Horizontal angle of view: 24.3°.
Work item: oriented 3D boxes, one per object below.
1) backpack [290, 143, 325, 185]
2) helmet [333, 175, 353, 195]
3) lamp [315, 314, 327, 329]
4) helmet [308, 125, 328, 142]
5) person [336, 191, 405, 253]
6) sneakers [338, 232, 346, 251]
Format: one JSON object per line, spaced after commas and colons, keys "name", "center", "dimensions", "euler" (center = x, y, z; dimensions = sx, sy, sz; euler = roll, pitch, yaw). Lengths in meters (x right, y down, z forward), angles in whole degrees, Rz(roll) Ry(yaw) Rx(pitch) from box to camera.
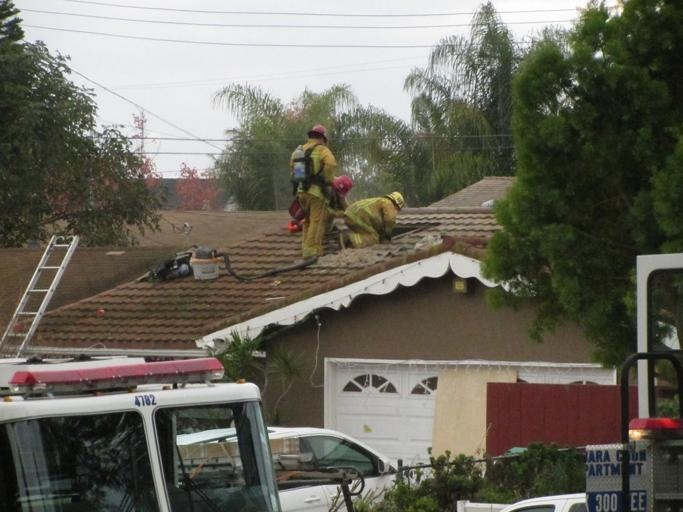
{"name": "backpack", "center": [-0.681, -1.654, 28.876], "dimensions": [0.452, 0.773, 0.635], "euler": [0, -1, 44]}
{"name": "helmet", "center": [0.031, -1.361, 29.444], "dimensions": [0.179, 0.283, 0.361], "euler": [-11, 8, 13]}
{"name": "lamp", "center": [-0.352, 1.085, 27.269], "dimensions": [0.092, 0.152, 0.258], "euler": [-12, 40, -24]}
{"name": "helmet", "center": [-0.403, -2.355, 29.008], "dimensions": [0.288, 0.228, 0.386], "euler": [12, -10, 14]}
{"name": "person", "center": [0.548, -0.761, 29.133], "dimensions": [0.958, 0.770, 0.909], "euler": [-16, 27, -7]}
{"name": "sneakers", "center": [0.009, -0.290, 29.305], "dimensions": [0.142, 0.535, 0.230], "euler": [-6, -42, 5]}
